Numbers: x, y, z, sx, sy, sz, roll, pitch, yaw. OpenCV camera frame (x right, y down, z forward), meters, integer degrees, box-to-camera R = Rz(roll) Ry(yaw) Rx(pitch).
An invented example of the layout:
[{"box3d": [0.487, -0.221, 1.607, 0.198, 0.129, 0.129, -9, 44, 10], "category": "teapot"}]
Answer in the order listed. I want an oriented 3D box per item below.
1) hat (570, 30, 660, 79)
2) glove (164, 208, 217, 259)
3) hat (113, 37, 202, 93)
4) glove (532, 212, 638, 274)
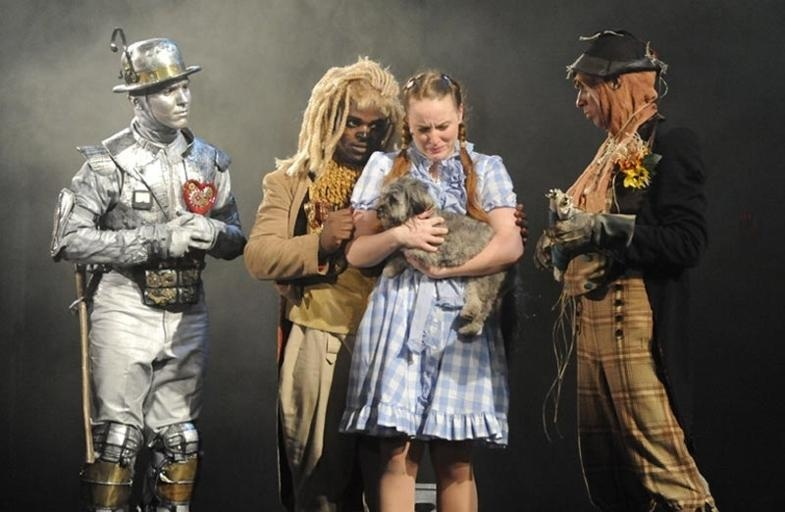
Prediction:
[{"box3d": [1.008, -0.896, 5.989, 0.328, 0.137, 0.267, 6, 9, 19], "category": "hat"}, {"box3d": [-0.940, -0.096, 6.231, 0.241, 0.205, 0.097, 8, -1, -21], "category": "glove"}, {"box3d": [-1.133, -0.894, 6.266, 0.308, 0.141, 0.306, -26, 13, -22], "category": "hat"}, {"box3d": [0.851, -0.069, 5.787, 0.343, 0.138, 0.271, -12, -6, 19], "category": "glove"}]
